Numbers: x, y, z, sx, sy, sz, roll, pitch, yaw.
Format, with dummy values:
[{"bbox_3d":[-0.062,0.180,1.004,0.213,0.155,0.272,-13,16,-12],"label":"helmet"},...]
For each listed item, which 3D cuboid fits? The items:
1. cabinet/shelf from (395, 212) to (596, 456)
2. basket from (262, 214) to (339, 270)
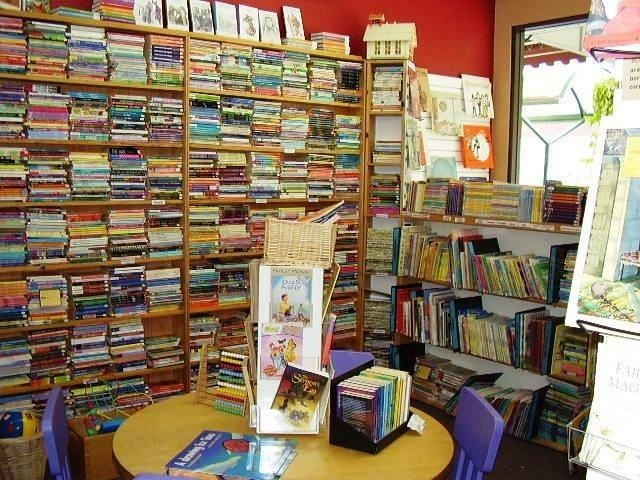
[{"bbox_3d":[1.389,0.698,3.733,0.641,1.589,1.735,-5,12,-39],"label":"cabinet/shelf"},{"bbox_3d":[-0.144,0.028,2.354,0.367,0.220,0.243,5,-9,-34],"label":"basket"}]
